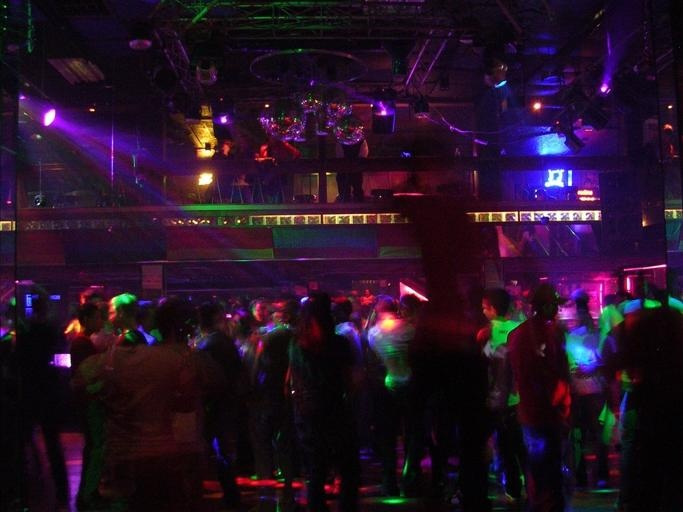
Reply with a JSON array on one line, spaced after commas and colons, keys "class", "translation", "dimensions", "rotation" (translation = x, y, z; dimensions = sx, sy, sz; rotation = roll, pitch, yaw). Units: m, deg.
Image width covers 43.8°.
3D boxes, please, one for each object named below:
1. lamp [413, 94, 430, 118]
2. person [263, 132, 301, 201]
[{"class": "lamp", "translation": [1.566, -2.954, 16.593], "dimensions": [0.280, 0.395, 0.375], "rotation": [-2, -11, 3]}, {"class": "person", "translation": [-1.304, -1.785, 17.645], "dimensions": [0.768, 1.245, 1.183], "rotation": [0, -11, -8]}]
